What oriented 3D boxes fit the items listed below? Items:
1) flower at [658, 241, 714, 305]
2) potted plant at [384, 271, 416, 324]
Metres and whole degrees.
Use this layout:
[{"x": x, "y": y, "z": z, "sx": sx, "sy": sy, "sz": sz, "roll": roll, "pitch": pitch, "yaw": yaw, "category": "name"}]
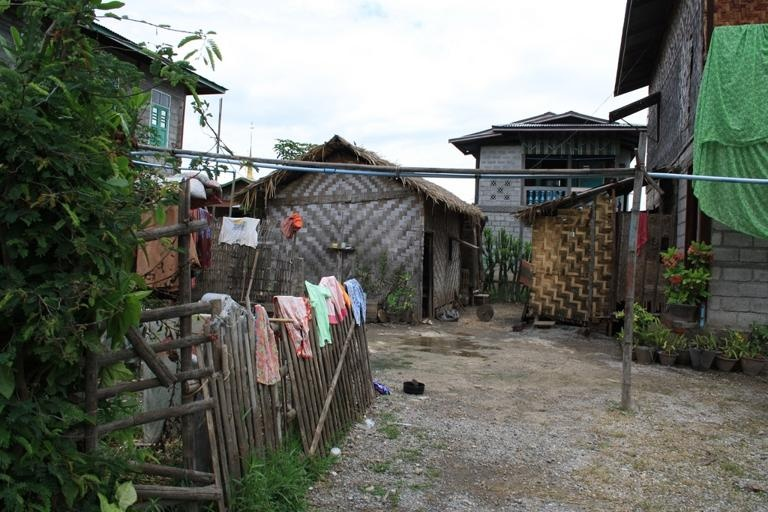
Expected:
[{"x": 5.609, "y": 0.346, "z": 10.061, "sx": 1.036, "sy": 1.281, "sz": 0.969, "roll": 0, "pitch": -2, "yaw": 9, "category": "flower"}, {"x": 0.404, "y": 1.072, "z": 14.137, "sx": 0.838, "sy": 1.353, "sz": 0.352, "roll": 1, "pitch": 6, "yaw": 4, "category": "potted plant"}]
